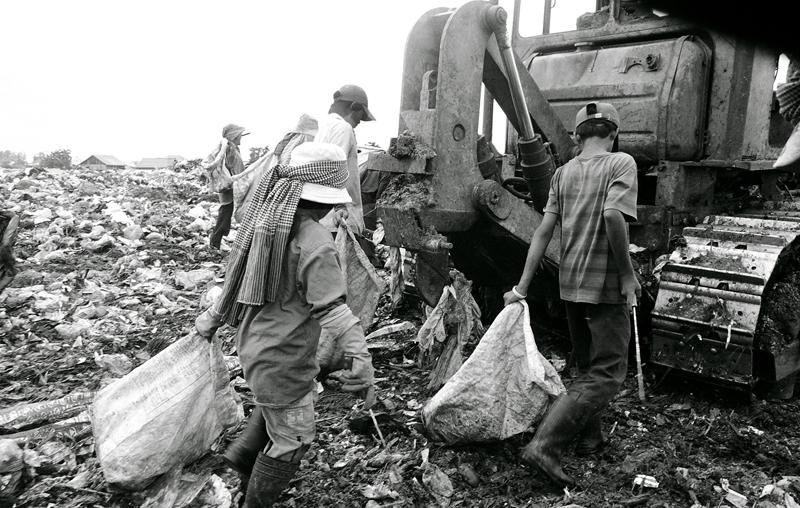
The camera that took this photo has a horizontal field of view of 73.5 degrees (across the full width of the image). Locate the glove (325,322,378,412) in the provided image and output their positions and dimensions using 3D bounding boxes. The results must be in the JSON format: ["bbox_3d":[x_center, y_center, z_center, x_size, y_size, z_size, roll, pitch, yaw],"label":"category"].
[{"bbox_3d":[-0.266,0.670,3.243,0.216,0.556,0.261,-1,10,-5],"label":"glove"}]

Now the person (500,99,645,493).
[{"bbox_3d":[1.261,0.221,3.751,0.730,2.528,1.009,6,12,31],"label":"person"}]

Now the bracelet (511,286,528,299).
[{"bbox_3d":[0.841,0.279,3.832,0.093,0.062,0.106,8,40,-44],"label":"bracelet"}]

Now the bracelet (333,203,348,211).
[{"bbox_3d":[-0.543,-0.424,4.947,0.131,0.096,0.130,0,-1,-1],"label":"bracelet"}]

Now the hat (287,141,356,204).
[{"bbox_3d":[-0.561,-0.545,3.433,0.533,0.295,0.587,3,15,-23],"label":"hat"}]

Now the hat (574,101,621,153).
[{"bbox_3d":[1.405,-0.907,3.861,0.296,0.475,0.215,-4,-36,12],"label":"hat"}]

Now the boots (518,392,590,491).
[{"bbox_3d":[1.047,1.245,3.607,0.407,0.576,0.244,-8,12,-36],"label":"boots"}]

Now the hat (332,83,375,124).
[{"bbox_3d":[-0.465,-1.602,5.420,0.288,0.239,0.449,31,18,34],"label":"hat"}]

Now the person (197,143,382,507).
[{"bbox_3d":[-0.666,0.416,3.272,0.889,2.144,0.642,-4,10,-16],"label":"person"}]
